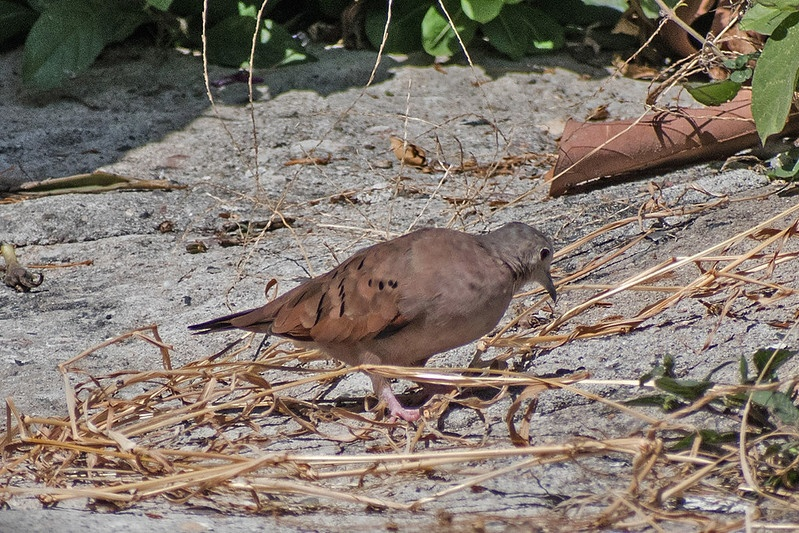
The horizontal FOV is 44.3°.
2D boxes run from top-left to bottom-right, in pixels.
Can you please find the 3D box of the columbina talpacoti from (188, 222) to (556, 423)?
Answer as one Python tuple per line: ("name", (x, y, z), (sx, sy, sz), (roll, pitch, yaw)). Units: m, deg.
("columbina talpacoti", (-0.017, 0.156, 3.999), (1.556, 0.645, 0.498), (3, 12, 20))
